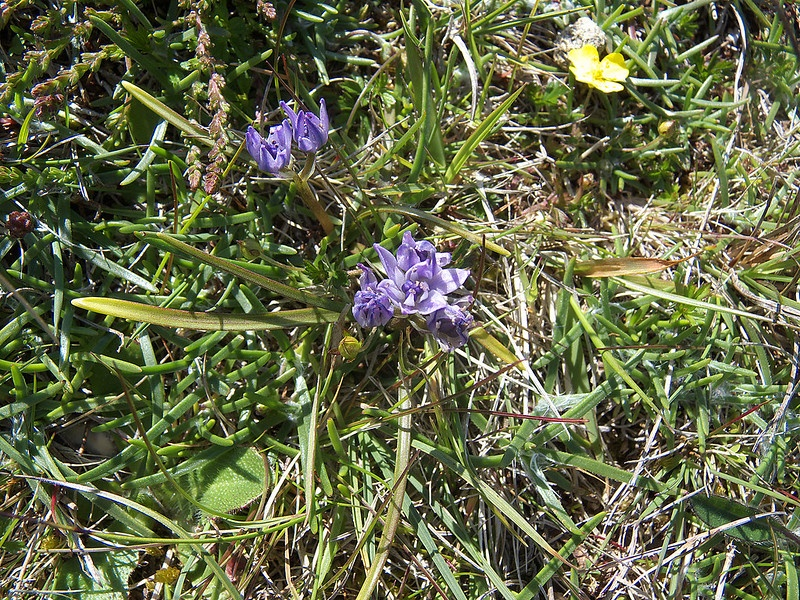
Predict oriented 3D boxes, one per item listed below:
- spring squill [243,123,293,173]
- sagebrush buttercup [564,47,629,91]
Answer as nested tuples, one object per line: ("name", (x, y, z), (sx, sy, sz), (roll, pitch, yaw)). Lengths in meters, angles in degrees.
("spring squill", (-0.424, -0.503, 2.470), (0.141, 0.180, 0.159), (-10, 40, -1))
("sagebrush buttercup", (0.814, -0.946, 3.052), (0.250, 0.110, 0.219), (13, 70, 8))
